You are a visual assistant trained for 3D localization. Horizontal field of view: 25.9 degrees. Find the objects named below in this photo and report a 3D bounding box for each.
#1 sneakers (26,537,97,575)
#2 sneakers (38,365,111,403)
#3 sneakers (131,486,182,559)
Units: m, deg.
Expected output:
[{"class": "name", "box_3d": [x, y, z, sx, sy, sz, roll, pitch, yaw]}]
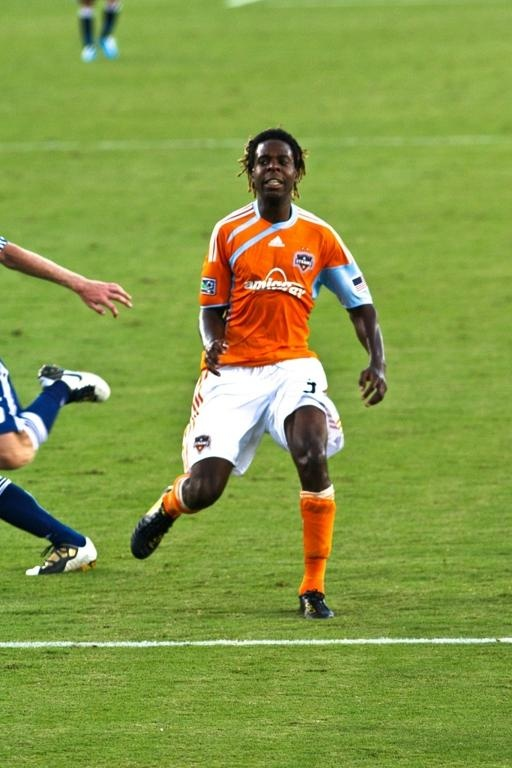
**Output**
[{"class": "sneakers", "box_3d": [-0.706, 0.672, 4.329, 0.343, 0.138, 0.103, -5, 8, -5]}, {"class": "sneakers", "box_3d": [-0.787, -0.004, 4.652, 0.370, 0.116, 0.145, 8, 40, -14]}, {"class": "sneakers", "box_3d": [-0.397, 0.573, 4.533, 0.306, 0.117, 0.140, -48, 22, 5]}]
